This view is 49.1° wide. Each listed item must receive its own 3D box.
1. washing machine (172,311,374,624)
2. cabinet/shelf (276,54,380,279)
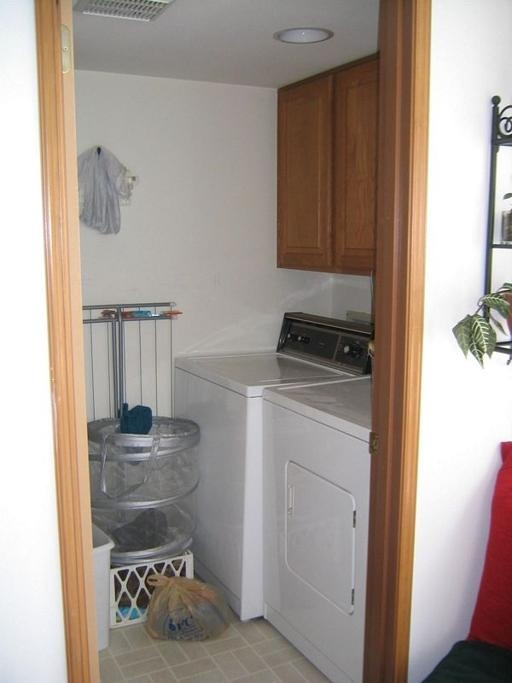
[{"bbox_3d":[0.056,0.505,2.646,0.621,1.199,0.866,-1,8,-27],"label":"washing machine"},{"bbox_3d":[0.318,-0.769,2.468,0.355,0.912,0.569,-6,13,-24],"label":"cabinet/shelf"}]
